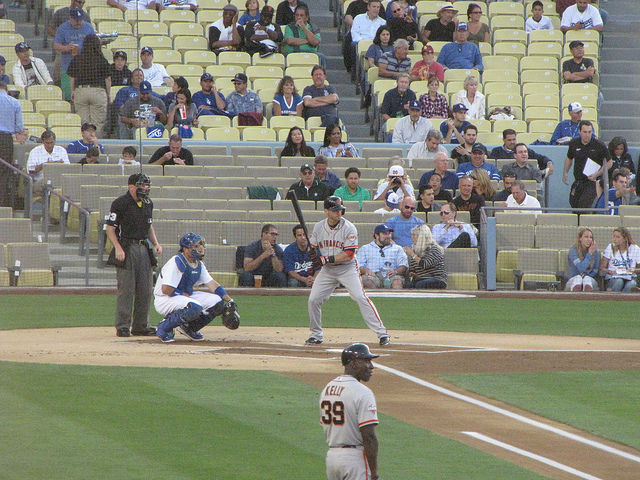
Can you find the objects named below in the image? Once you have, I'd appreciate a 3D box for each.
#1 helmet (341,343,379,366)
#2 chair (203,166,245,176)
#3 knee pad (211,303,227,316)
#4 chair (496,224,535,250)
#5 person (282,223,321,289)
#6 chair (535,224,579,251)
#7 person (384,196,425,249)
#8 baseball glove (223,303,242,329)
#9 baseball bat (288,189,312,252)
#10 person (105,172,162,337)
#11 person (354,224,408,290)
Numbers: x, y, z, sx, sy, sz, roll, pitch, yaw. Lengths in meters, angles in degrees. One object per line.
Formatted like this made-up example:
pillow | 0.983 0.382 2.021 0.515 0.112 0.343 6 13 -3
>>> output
helmet | 0.613 1.805 26.937 0.434 0.218 0.310 -3 -2 -1
chair | -2.182 -1.602 40.061 0.956 0.220 0.107 -1 14 -9
knee pad | -1.852 1.313 32.357 0.257 0.202 0.364 8 -6 -7
chair | 4.364 -0.068 38.705 0.938 0.676 0.522 1 7 2
person | -0.422 0.412 37.495 0.776 1.525 0.615 0 9 -24
chair | 5.274 -0.038 38.684 0.892 0.635 0.533 1 -4 7
person | 1.857 -0.354 38.296 0.792 1.131 0.705 8 9 22
baseball glove | -1.648 1.448 32.527 0.404 0.452 0.351 2 -6 20
baseball bat | -0.398 -0.364 36.887 0.157 1.457 0.158 -20 1 -10
person | -3.459 0.215 32.559 0.973 3.214 0.833 -1 11 -27
person | 1.384 0.365 37.875 1.105 1.389 0.935 2 9 -5
